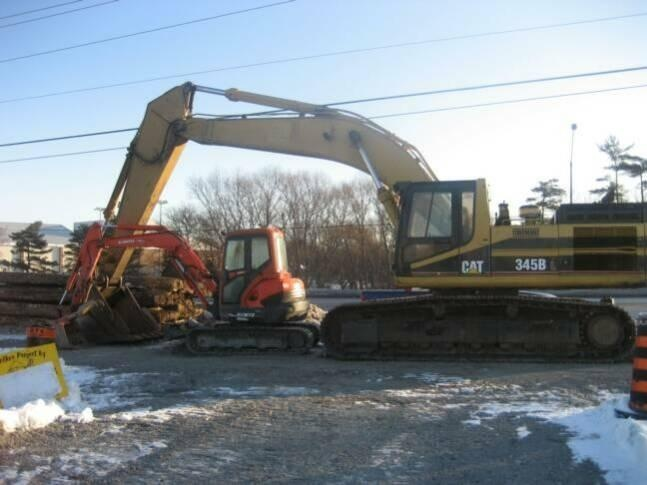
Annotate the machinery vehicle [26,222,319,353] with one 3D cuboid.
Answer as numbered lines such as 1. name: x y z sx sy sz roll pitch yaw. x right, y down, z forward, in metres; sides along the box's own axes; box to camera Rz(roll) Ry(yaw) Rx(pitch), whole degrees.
1. machinery vehicle: -3.259 1.217 16.152 5.988 2.777 3.260 1 -3 6
